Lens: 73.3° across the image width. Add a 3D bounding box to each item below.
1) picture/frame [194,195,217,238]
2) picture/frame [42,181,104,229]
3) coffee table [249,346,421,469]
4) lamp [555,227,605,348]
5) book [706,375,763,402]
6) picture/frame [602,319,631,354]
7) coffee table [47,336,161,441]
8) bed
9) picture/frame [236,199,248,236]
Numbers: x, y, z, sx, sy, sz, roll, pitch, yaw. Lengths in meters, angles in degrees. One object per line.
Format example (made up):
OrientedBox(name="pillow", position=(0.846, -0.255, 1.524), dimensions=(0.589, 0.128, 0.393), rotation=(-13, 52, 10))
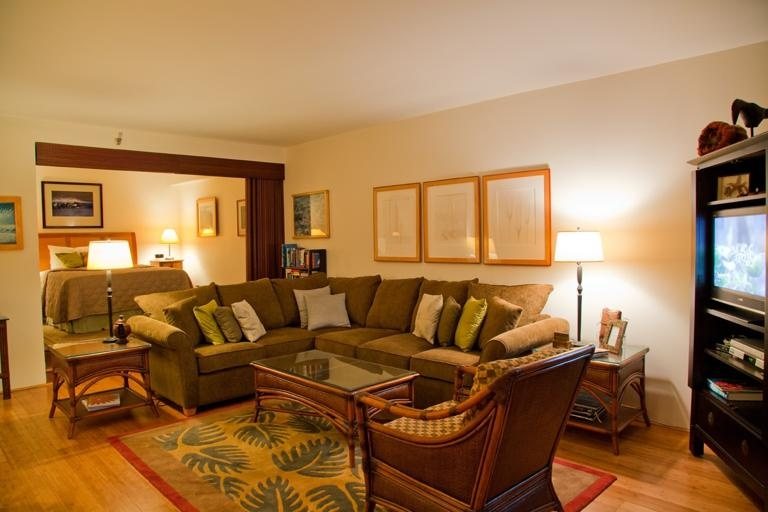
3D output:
OrientedBox(name="picture/frame", position=(-3.585, -0.803, 10.461), dimensions=(0.958, 0.915, 0.065), rotation=(0, -1, 44))
OrientedBox(name="picture/frame", position=(-5.934, -0.971, 9.781), dimensions=(0.064, 0.927, 0.997), rotation=(5, 7, 44))
OrientedBox(name="coffee table", position=(-0.401, 1.030, 4.746), dimensions=(0.817, 0.612, 1.518), rotation=(-1, 1, -43))
OrientedBox(name="lamp", position=(1.898, 0.288, 5.095), dimensions=(0.415, 1.118, 0.523), rotation=(4, 13, 21))
OrientedBox(name="book", position=(2.806, 1.071, 4.163), dimensions=(0.316, 0.125, 0.298), rotation=(3, 12, 17))
OrientedBox(name="picture/frame", position=(2.122, 0.743, 4.757), dimensions=(0.028, 0.388, 0.288), rotation=(27, -12, -8))
OrientedBox(name="coffee table", position=(-2.916, 1.265, 5.249), dimensions=(0.666, 0.701, 0.864), rotation=(2, 3, 34))
OrientedBox(name="bed", position=(-5.083, 0.527, 9.079), dimensions=(2.413, 1.430, 1.985), rotation=(1, 3, 44))
OrientedBox(name="picture/frame", position=(-2.528, -0.694, 9.214), dimensions=(0.078, 0.755, 0.786), rotation=(-3, 2, -28))
